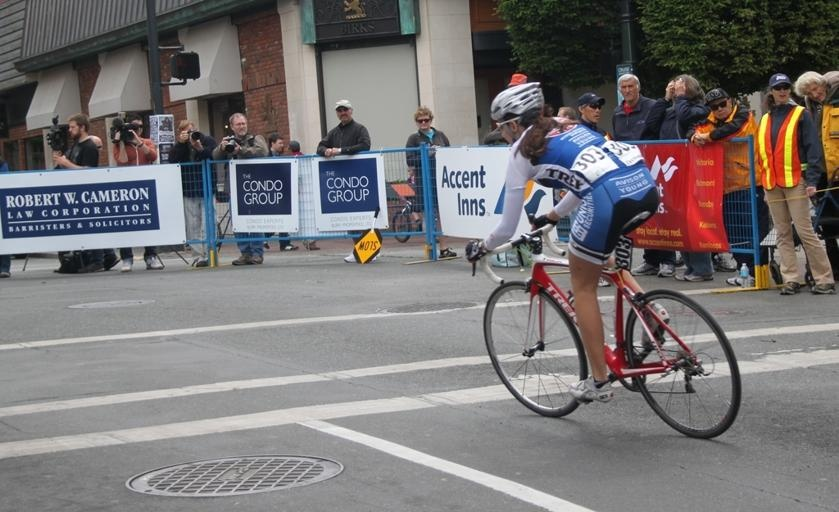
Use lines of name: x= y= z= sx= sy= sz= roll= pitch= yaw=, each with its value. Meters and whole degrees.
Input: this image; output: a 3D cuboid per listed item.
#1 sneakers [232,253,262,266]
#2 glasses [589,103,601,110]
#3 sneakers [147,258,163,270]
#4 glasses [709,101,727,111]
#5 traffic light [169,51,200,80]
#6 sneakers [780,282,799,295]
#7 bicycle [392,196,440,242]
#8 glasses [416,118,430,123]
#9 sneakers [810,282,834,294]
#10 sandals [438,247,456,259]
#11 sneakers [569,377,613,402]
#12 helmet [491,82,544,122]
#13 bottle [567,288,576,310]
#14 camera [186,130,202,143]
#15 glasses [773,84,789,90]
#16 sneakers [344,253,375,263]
sneakers: x=-3.294 y=0.059 z=23.764 sx=0.616 sy=0.234 sz=0.215 roll=0 pitch=2 yaw=-4
glasses: x=2.721 y=-2.336 z=19.351 sx=0.147 sy=0.137 sz=0.042 roll=1 pitch=21 yaw=-26
sneakers: x=-5.143 y=0.146 z=23.816 sx=0.175 sy=0.181 sz=0.457 roll=-3 pitch=-1 yaw=-41
glasses: x=4.453 y=-2.275 z=18.476 sx=0.163 sy=0.056 sz=0.158 roll=-9 pitch=26 yaw=17
traffic light: x=-5.279 y=-4.298 z=27.682 sx=0.636 sy=0.405 sz=0.643 roll=-3 pitch=2 yaw=-23
sneakers: x=5.322 y=0.466 z=17.810 sx=0.126 sy=0.136 sz=0.340 roll=-4 pitch=-5 yaw=43
bicycle: x=-0.232 y=-0.754 z=22.594 sx=0.602 sy=0.704 sz=0.199 roll=-2 pitch=2 yaw=0
glasses: x=0.038 y=-2.546 z=23.123 sx=0.237 sy=0.105 sz=0.092 roll=-2 pitch=2 yaw=8
sneakers: x=5.752 y=0.467 z=17.723 sx=0.358 sy=0.144 sz=0.126 roll=1 pitch=1 yaw=-13
sandals: x=0.490 y=-0.054 z=22.907 sx=0.245 sy=0.108 sz=0.173 roll=-1 pitch=2 yaw=39
sneakers: x=1.869 y=1.466 z=13.584 sx=0.519 sy=0.262 sz=0.199 roll=5 pitch=3 yaw=18
helmet: x=1.050 y=-1.660 z=13.540 sx=0.552 sy=0.332 sz=0.399 roll=-17 pitch=42 yaw=9
bottle: x=1.657 y=0.463 z=13.621 sx=0.042 sy=0.145 sz=0.159 roll=-6 pitch=10 yaw=-8
camera: x=-4.358 y=-2.332 z=23.835 sx=0.228 sy=0.131 sz=0.171 roll=3 pitch=-3 yaw=13
glasses: x=5.156 y=-2.422 z=17.659 sx=0.120 sy=0.077 sz=0.184 roll=-1 pitch=-8 yaw=2
sneakers: x=-1.228 y=0.050 z=23.081 sx=0.279 sy=0.206 sz=0.623 roll=1 pitch=-5 yaw=-18
